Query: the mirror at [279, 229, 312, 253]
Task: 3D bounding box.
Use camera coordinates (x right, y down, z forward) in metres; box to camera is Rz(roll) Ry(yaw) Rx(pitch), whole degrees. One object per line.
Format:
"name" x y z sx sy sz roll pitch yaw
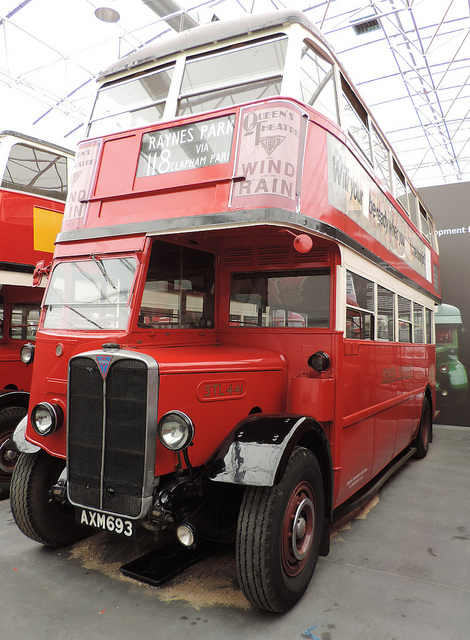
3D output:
"mirror" 0.457 -0.533 2.954 0.119 0.101 0.072 8 -11 -32
